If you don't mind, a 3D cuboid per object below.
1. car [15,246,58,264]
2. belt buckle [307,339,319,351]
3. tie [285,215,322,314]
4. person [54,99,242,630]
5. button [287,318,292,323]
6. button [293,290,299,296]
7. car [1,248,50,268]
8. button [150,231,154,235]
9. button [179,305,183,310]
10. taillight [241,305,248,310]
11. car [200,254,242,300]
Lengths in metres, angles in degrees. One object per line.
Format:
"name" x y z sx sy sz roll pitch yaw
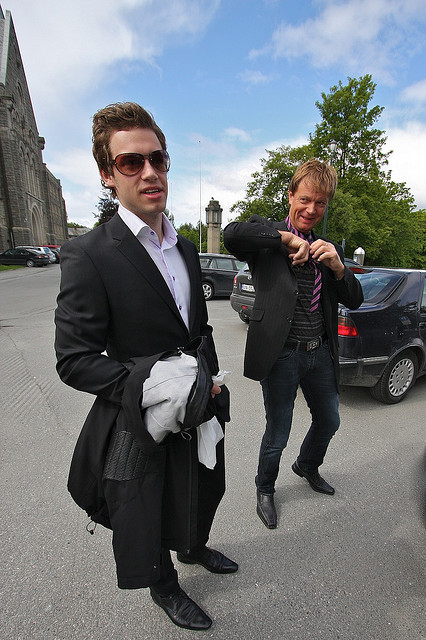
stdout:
"car" -11.458 -4.400 28.002 1.430 1.042 3.082 1 19 -5
"belt buckle" 0.513 0.129 2.118 0.016 0.052 0.097 13 18 42
"tie" 0.467 -0.286 2.147 0.195 0.483 0.211 2 13 6
"person" -0.237 0.281 1.549 0.689 2.041 0.663 2 13 4
"button" 0.373 0.002 2.022 0.022 0.022 0.007 -12 6 0
"button" 0.409 -0.131 2.031 0.011 0.030 0.043 10 16 35
"car" -11.632 -3.908 25.661 2.529 0.850 1.257 5 18 3
"button" -0.225 -0.319 1.528 0.014 0.009 0.008 0 13 -5
"button" -0.120 -0.044 1.537 0.017 0.017 0.005 -16 -3 28
"taillight" 0.502 -0.199 6.580 0.017 0.063 0.155 -6 14 -25
"car" 0.163 -1.196 11.225 1.730 0.833 0.985 -6 14 -19
